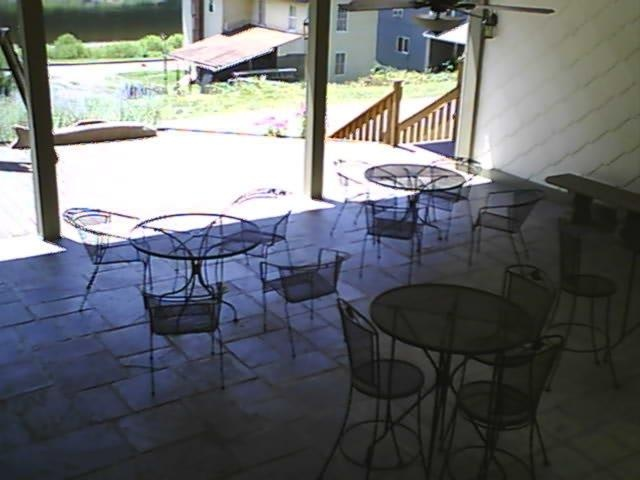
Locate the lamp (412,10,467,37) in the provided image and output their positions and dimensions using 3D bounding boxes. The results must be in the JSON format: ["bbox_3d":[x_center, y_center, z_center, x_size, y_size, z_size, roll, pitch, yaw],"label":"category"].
[{"bbox_3d":[0.987,-1.725,4.684,0.390,0.197,0.419,11,29,18],"label":"lamp"}]
